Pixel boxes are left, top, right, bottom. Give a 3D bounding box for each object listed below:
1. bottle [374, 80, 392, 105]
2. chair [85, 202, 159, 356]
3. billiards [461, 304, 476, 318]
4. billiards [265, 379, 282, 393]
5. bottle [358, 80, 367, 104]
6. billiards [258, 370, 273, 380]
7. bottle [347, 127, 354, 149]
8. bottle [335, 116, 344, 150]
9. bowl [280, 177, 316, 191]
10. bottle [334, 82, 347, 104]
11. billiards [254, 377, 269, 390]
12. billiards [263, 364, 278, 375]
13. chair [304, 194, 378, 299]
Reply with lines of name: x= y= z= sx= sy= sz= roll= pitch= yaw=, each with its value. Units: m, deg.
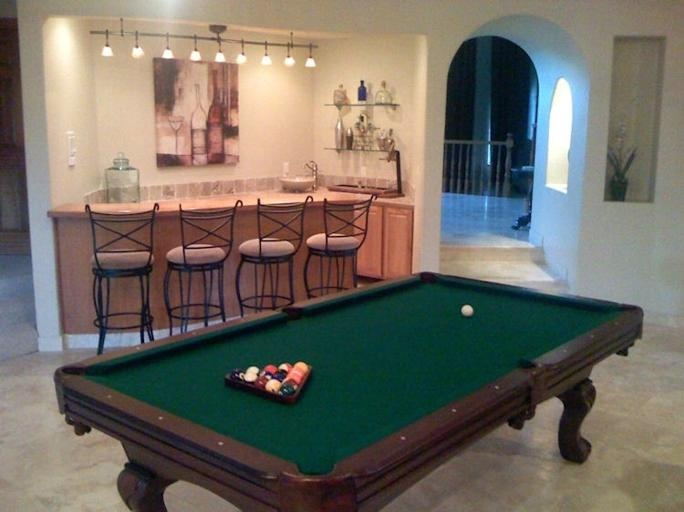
bottle: x=0.532 y=-2.084 z=7.155 sx=0.264 sy=0.305 sz=0.086 roll=8 pitch=15 yaw=38
chair: x=-1.948 y=0.199 z=5.045 sx=0.668 sy=1.379 sz=0.737 roll=-5 pitch=12 yaw=-18
billiards: x=0.748 y=0.320 z=3.277 sx=0.094 sy=0.059 sz=0.102 roll=-2 pitch=12 yaw=-1
billiards: x=-0.284 y=0.550 z=2.352 sx=0.073 sy=0.041 sz=0.038 roll=4 pitch=13 yaw=23
bottle: x=0.262 y=-2.144 z=7.250 sx=0.124 sy=0.277 sz=0.177 roll=0 pitch=12 yaw=5
billiards: x=-0.321 y=0.521 z=2.434 sx=0.035 sy=0.038 sz=0.036 roll=2 pitch=12 yaw=-13
bottle: x=0.101 y=-1.551 z=7.404 sx=0.109 sy=0.271 sz=0.084 roll=-1 pitch=12 yaw=1
bottle: x=-0.027 y=-1.615 z=7.410 sx=0.104 sy=0.410 sz=0.100 roll=-1 pitch=12 yaw=0
bowl: x=-0.558 y=-0.896 z=7.103 sx=0.422 sy=0.180 sz=0.374 roll=-1 pitch=12 yaw=1
bottle: x=-0.021 y=-2.136 z=7.393 sx=0.195 sy=0.290 sz=0.178 roll=-1 pitch=12 yaw=0
billiards: x=-0.345 y=0.546 z=2.384 sx=0.043 sy=0.030 sz=0.046 roll=10 pitch=45 yaw=9
billiards: x=-0.319 y=0.501 z=2.480 sx=0.040 sy=0.027 sz=0.041 roll=5 pitch=28 yaw=23
chair: x=-0.083 y=0.013 z=5.668 sx=0.611 sy=1.271 sz=0.585 roll=-10 pitch=20 yaw=-41
